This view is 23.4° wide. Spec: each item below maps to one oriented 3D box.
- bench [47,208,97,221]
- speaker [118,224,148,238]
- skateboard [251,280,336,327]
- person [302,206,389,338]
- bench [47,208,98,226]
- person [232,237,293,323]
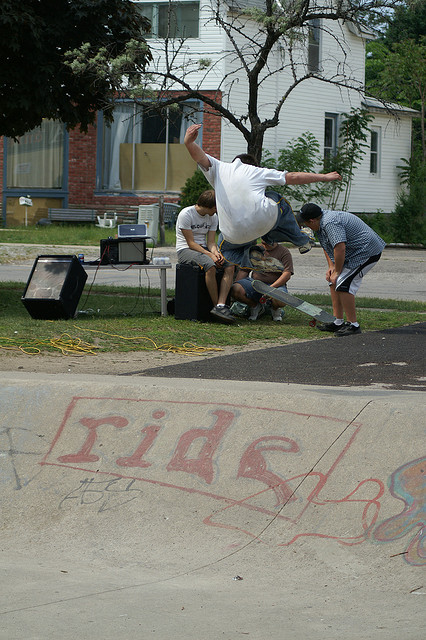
[{"bbox_3d":[-3.526,-2.655,25.903,1.081,0.306,0.336,1,11,-13],"label":"bench"},{"bbox_3d":[-0.774,-0.865,9.975,0.272,0.136,0.463,2,5,-5],"label":"speaker"},{"bbox_3d":[0.760,-0.145,9.835,0.807,0.129,0.218,30,43,21],"label":"skateboard"},{"bbox_3d":[1.064,-0.384,8.508,0.508,1.053,0.664,6,6,33],"label":"person"},{"bbox_3d":[-3.510,-2.609,25.897,1.223,0.381,0.332,2,5,-6],"label":"bench"},{"bbox_3d":[0.506,-0.424,9.555,0.568,0.849,0.539,8,10,27],"label":"person"}]
